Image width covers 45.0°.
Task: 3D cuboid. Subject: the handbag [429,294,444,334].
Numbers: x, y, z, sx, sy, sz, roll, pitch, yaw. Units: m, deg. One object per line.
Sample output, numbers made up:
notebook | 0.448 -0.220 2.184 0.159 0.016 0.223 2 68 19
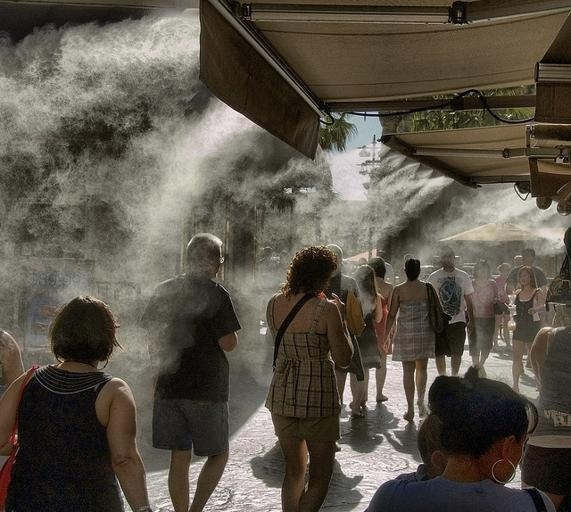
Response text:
handbag | 1.542 0.576 7.083 0.122 0.434 0.094 -9 15 14

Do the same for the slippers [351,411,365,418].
slippers | 0.733 1.600 6.965 0.104 0.052 0.062 -3 -2 8
